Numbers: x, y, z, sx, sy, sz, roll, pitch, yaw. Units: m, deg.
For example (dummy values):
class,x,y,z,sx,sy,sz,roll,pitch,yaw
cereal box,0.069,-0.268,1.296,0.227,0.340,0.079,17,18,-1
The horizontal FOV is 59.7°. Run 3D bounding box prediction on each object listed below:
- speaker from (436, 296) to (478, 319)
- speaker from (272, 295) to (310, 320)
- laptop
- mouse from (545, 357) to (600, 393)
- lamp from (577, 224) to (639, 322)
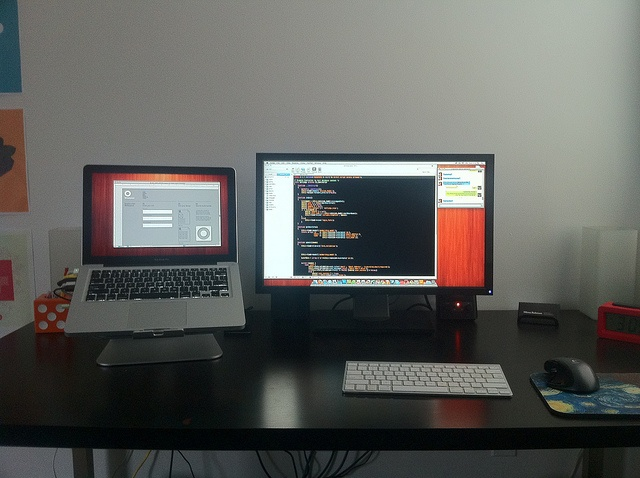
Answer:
class,x,y,z,sx,sy,sz,roll,pitch,yaw
speaker,0.462,0.235,1.900,0.136,0.130,0.077,1,0,3
speaker,-0.102,0.229,1.822,0.145,0.103,0.080,2,8,3
laptop,-0.517,0.017,1.759,0.476,0.560,0.398,1,10,-14
mouse,0.666,0.368,1.486,0.153,0.076,0.142,2,12,20
lamp,0.988,0.118,1.978,0.120,0.314,0.183,2,9,2
